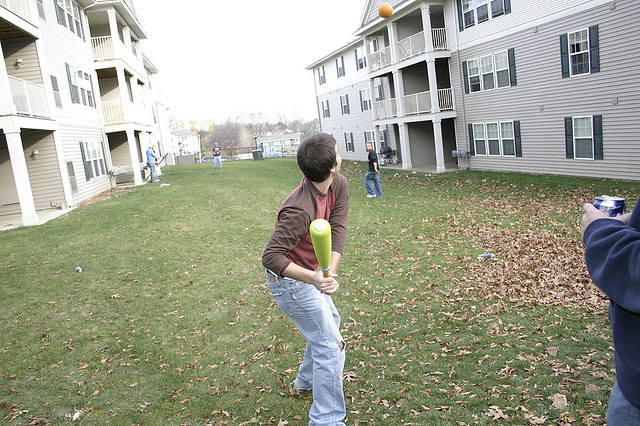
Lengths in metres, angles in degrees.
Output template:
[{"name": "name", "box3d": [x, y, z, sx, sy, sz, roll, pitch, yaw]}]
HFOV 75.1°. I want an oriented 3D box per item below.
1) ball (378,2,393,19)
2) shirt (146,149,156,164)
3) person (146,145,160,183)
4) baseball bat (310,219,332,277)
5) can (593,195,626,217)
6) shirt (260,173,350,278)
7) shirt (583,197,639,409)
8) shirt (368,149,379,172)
[{"name": "ball", "box3d": [3.097, -9.606, 19.762, 0.547, 0.713, 0.795, -2, 11, 5]}, {"name": "shirt", "box3d": [-10.588, -3.547, 25.983, 0.552, 1.022, 0.919, -9, 19, -28]}, {"name": "person", "box3d": [-10.516, -3.064, 25.977, 0.475, 2.258, 0.968, -7, 12, -21]}, {"name": "baseball bat", "box3d": [0.008, 0.450, 5.571, 0.195, 0.851, 0.202, 0, 50, 11]}, {"name": "can", "box3d": [3.388, -0.114, 4.918, 0.284, 0.320, 0.276, -8, 5, -37]}, {"name": "shirt", "box3d": [-0.131, 0.119, 6.114, 0.842, 1.468, 1.465, 26, 32, 27]}, {"name": "shirt", "box3d": [3.101, 1.013, 4.421, 0.581, 1.893, 0.390, 4, 13, 32]}, {"name": "shirt", "box3d": [2.423, -2.396, 18.808, 0.384, 0.990, 1.205, -2, 11, 5]}]
